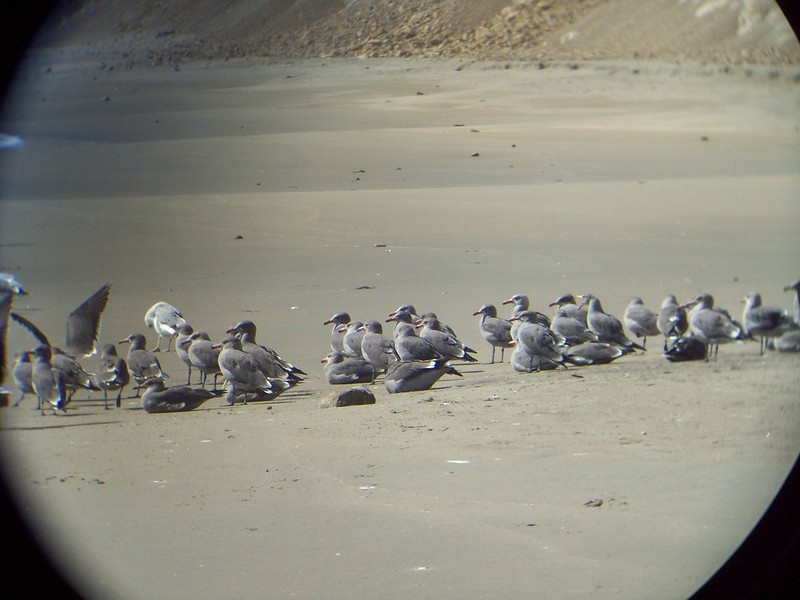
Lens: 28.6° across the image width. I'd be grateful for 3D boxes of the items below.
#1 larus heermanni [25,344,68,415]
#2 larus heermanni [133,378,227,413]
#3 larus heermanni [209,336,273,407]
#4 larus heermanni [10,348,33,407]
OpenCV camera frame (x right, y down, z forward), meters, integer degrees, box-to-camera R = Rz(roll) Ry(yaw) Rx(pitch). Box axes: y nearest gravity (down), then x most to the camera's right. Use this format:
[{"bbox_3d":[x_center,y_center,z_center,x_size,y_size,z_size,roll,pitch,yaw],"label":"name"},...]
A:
[{"bbox_3d":[-3.037,0.671,13.396,0.269,0.601,0.124,-2,13,-20],"label":"larus heermanni"},{"bbox_3d":[-1.946,0.834,13.823,0.695,0.267,0.320,-1,11,-12],"label":"larus heermanni"},{"bbox_3d":[-1.373,0.602,14.128,0.728,0.535,0.317,6,15,27],"label":"larus heermanni"},{"bbox_3d":[-3.255,0.667,13.390,0.150,0.484,0.090,7,13,20],"label":"larus heermanni"}]
